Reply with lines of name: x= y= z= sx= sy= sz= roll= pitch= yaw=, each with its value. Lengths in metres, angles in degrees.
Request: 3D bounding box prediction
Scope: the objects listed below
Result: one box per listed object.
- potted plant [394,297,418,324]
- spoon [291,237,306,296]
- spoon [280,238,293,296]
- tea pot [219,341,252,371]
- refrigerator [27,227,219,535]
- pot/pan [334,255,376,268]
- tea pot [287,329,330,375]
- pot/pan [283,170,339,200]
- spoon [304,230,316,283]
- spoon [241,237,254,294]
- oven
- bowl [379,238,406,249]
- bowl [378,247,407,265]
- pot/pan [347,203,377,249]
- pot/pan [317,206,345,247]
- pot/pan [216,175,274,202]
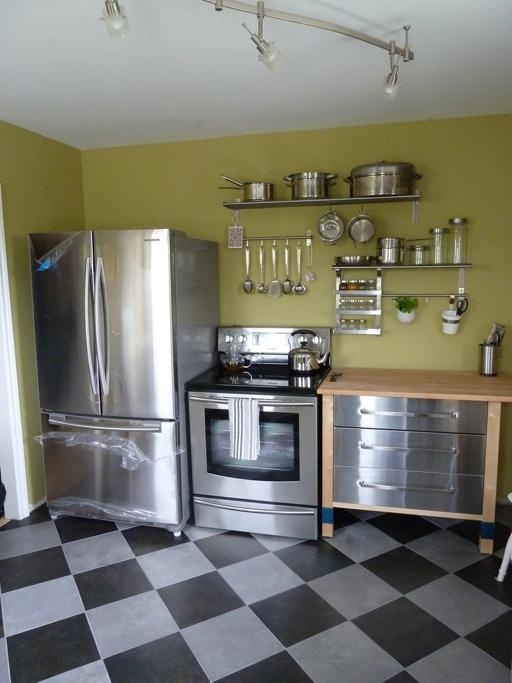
potted plant: x=0.867 y=-0.181 z=3.216 sx=0.128 sy=0.165 sz=0.143 roll=1 pitch=9 yaw=15
spoon: x=0.263 y=-0.454 z=3.412 sx=0.088 sy=0.326 sz=0.044 roll=0 pitch=9 yaw=8
spoon: x=0.189 y=-0.462 z=3.440 sx=0.071 sy=0.336 sz=0.042 roll=7 pitch=12 yaw=41
tea pot: x=-0.122 y=0.081 z=3.344 sx=0.173 sy=0.219 sz=0.174 roll=-2 pitch=-1 yaw=0
refrigerator: x=-0.680 y=0.219 z=3.000 sx=0.943 sy=1.607 sz=0.523 roll=-5 pitch=10 yaw=-22
pot/pan: x=0.571 y=-0.471 z=3.233 sx=0.227 sy=0.068 sz=0.164 roll=1 pitch=9 yaw=11
tea pot: x=0.341 y=0.062 z=3.205 sx=0.298 sy=0.247 sz=0.195 roll=1 pitch=6 yaw=13
pot/pan: x=0.300 y=-0.878 z=3.133 sx=0.260 sy=0.157 sz=0.171 roll=-1 pitch=9 yaw=2
spoon: x=0.326 y=-0.514 z=3.386 sx=0.071 sy=0.310 sz=0.034 roll=1 pitch=9 yaw=13
spoon: x=-0.055 y=-0.476 z=3.515 sx=0.072 sy=0.335 sz=0.045 roll=-2 pitch=9 yaw=-3
oven: x=0.056 y=0.607 z=3.154 sx=0.758 sy=0.766 sz=0.657 roll=1 pitch=9 yaw=6
bowl: x=0.751 y=-0.553 z=3.100 sx=0.135 sy=0.049 sz=0.067 roll=0 pitch=9 yaw=5
bowl: x=0.754 y=-0.481 z=3.117 sx=0.133 sy=0.100 sz=0.080 roll=0 pitch=9 yaw=5
pot/pan: x=0.616 y=-0.684 z=3.217 sx=0.157 sy=0.246 sz=0.038 roll=2 pitch=10 yaw=23
pot/pan: x=0.441 y=-0.682 z=3.292 sx=0.162 sy=0.205 sz=0.121 roll=0 pitch=9 yaw=7
pot/pan: x=-0.071 y=-0.897 z=3.328 sx=0.346 sy=0.155 sz=0.179 roll=5 pitch=10 yaw=25
